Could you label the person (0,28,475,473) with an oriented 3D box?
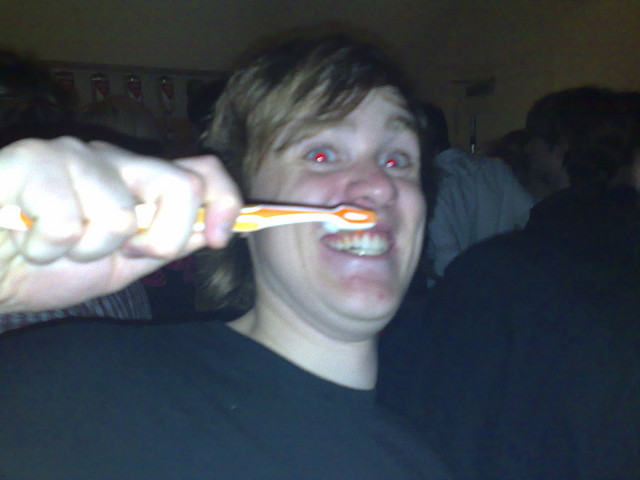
[{"bbox_3d":[-0.237,0.028,1.690,1.081,1.112,0.763,-8,14,-28],"label":"person"}]
